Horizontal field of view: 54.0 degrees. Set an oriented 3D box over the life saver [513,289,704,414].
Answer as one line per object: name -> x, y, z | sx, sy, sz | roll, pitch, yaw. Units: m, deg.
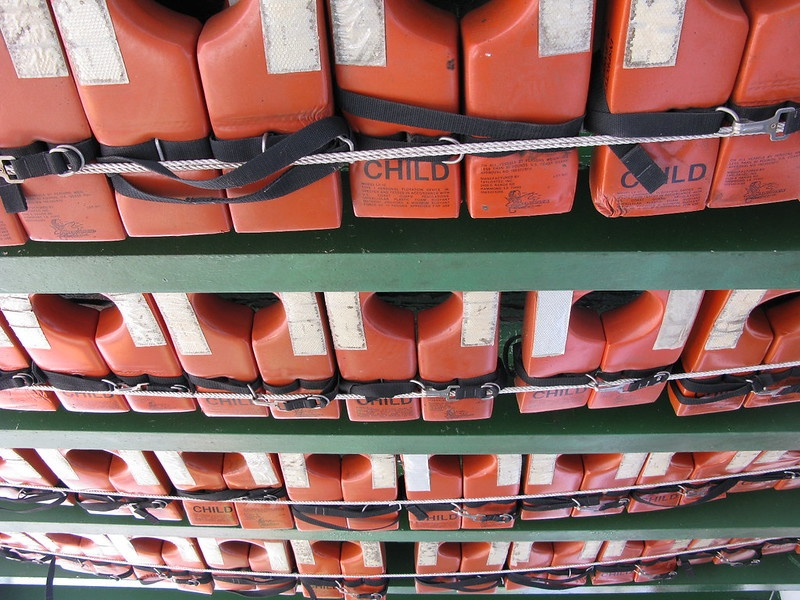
life saver -> 0.764, 0.194, 2.860 | 0.909, 0.224, 0.824 | -2, -29, 3
